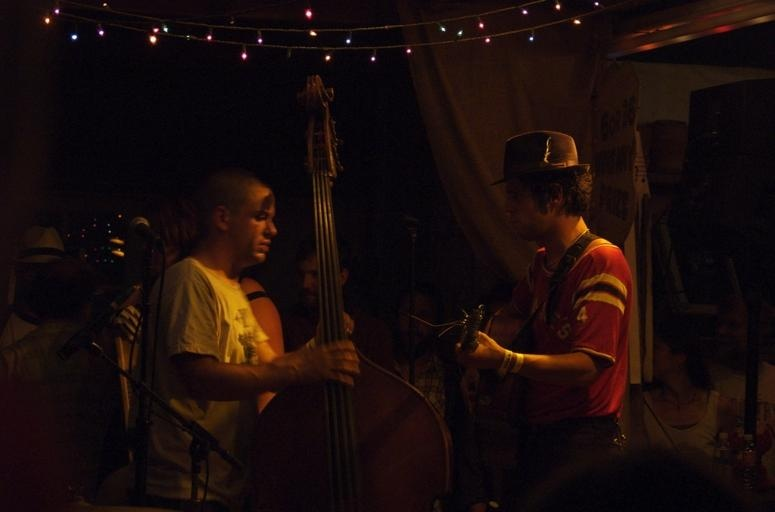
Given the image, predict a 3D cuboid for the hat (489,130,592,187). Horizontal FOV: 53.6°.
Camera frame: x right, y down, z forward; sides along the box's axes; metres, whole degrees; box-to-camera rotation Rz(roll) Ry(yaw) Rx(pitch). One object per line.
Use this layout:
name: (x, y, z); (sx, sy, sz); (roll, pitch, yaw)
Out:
hat: (0.922, -0.567, 4.492); (0.589, 0.246, 0.512); (-4, -3, 24)
